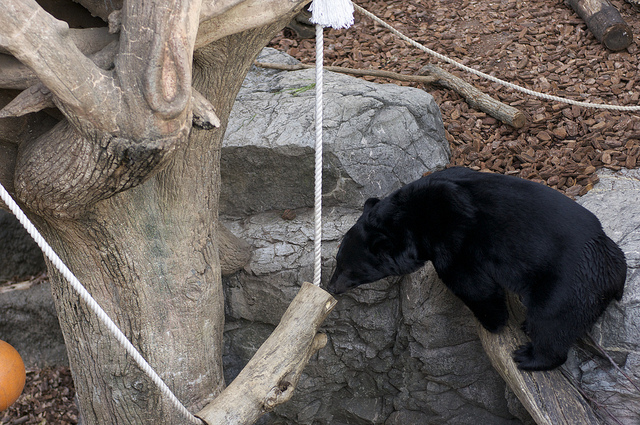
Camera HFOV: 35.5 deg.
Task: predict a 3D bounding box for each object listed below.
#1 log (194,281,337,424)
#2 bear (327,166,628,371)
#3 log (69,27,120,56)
[{"bbox_3d":[-0.331,1.136,7.624,0.567,0.457,1.517,32,76,16],"label":"log"},{"bbox_3d":[1.374,0.196,8.056,2.213,1.412,1.142,9,35,22],"label":"bear"},{"bbox_3d":[-1.604,-1.258,7.088,0.308,0.124,0.318,-20,52,-20],"label":"log"}]
